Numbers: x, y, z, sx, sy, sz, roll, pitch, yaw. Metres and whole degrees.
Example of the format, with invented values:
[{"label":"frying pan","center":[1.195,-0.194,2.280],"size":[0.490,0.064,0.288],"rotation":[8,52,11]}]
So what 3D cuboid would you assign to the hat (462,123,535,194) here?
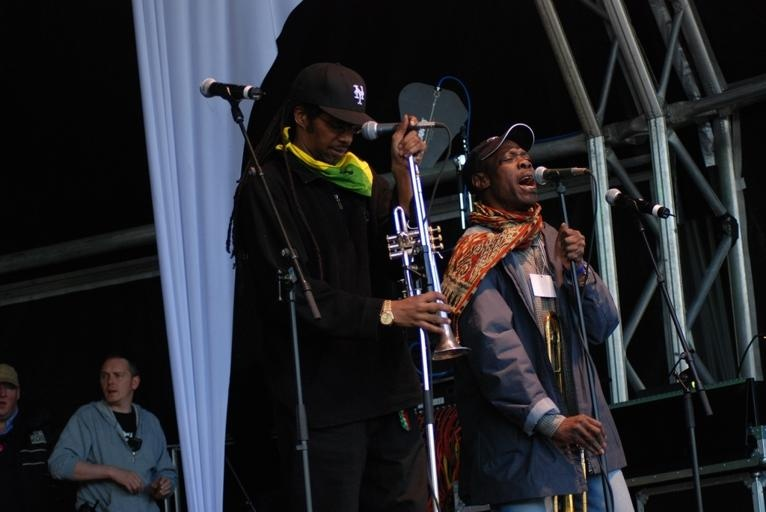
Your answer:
[{"label":"hat","center":[0.830,-0.793,8.021],"size":[0.583,0.194,0.372],"rotation":[-46,-9,28]}]

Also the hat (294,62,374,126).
[{"label":"hat","center":[-0.366,-1.154,7.709],"size":[0.526,0.470,0.520],"rotation":[-3,8,-32]}]

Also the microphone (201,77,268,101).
[{"label":"microphone","center":[-1.073,-1.151,7.614],"size":[0.527,0.193,0.188],"rotation":[7,-23,36]}]

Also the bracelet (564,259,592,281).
[{"label":"bracelet","center":[1.387,0.103,7.742],"size":[0.183,0.136,0.071],"rotation":[22,-23,-22]}]
